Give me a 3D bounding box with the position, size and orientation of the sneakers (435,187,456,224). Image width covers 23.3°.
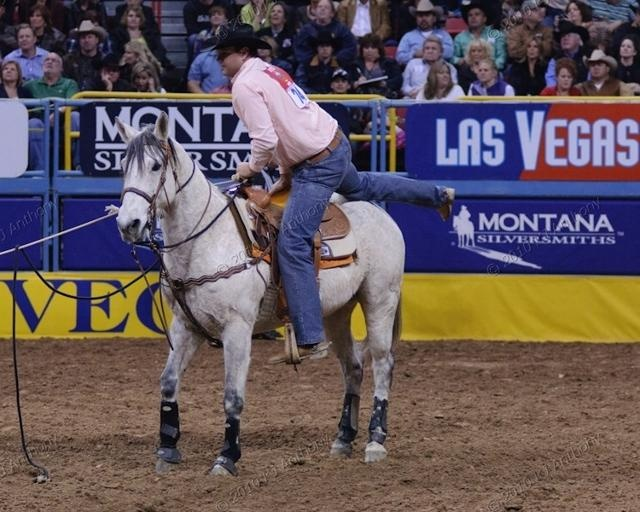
[{"bbox_3d":[1.264,-0.460,15.653,0.179,0.457,0.151,0,20,11],"label":"sneakers"}]

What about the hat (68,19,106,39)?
[{"bbox_3d":[-3.268,-3.175,21.717,0.323,0.151,0.387,-4,-11,-3],"label":"hat"}]

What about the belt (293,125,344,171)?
[{"bbox_3d":[0.011,-0.987,14.907,0.117,0.438,0.398,39,-1,-7],"label":"belt"}]

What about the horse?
[{"bbox_3d":[-0.457,0.492,15.362,3.618,3.500,1.205,-1,-1,-43],"label":"horse"}]
